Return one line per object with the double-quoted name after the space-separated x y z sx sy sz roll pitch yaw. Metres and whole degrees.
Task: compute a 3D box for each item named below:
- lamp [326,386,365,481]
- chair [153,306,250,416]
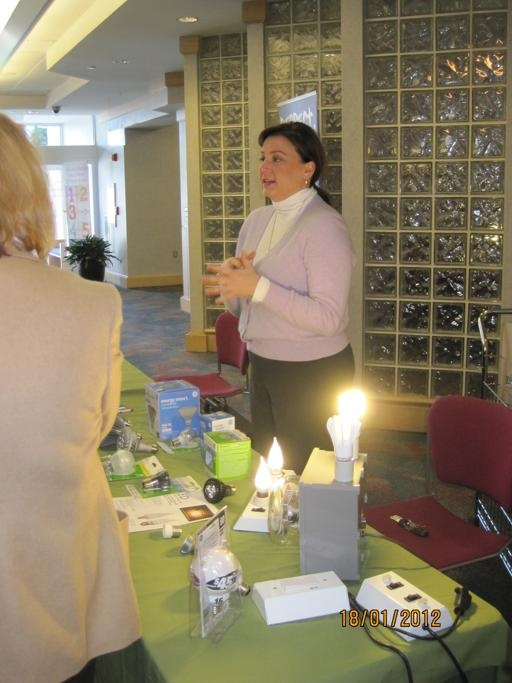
0.158 0.177 1.045 0.087 0.147 0.081 4 -1 38 "lamp"
-0.349 0.261 3.503 0.560 0.810 0.516 -14 19 -38 "chair"
